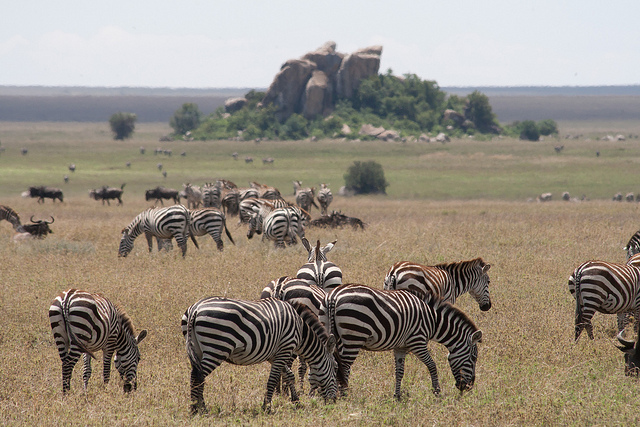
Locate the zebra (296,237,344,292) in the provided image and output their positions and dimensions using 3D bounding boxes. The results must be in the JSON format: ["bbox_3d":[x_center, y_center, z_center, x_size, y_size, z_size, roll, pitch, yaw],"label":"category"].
[{"bbox_3d":[-0.114,5.619,101.035,3.567,7.029,8.994,4,6,0],"label":"zebra"}]

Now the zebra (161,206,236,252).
[{"bbox_3d":[-12.707,0.541,104.851,9.131,5.973,2.844,1,-2,-2],"label":"zebra"}]
